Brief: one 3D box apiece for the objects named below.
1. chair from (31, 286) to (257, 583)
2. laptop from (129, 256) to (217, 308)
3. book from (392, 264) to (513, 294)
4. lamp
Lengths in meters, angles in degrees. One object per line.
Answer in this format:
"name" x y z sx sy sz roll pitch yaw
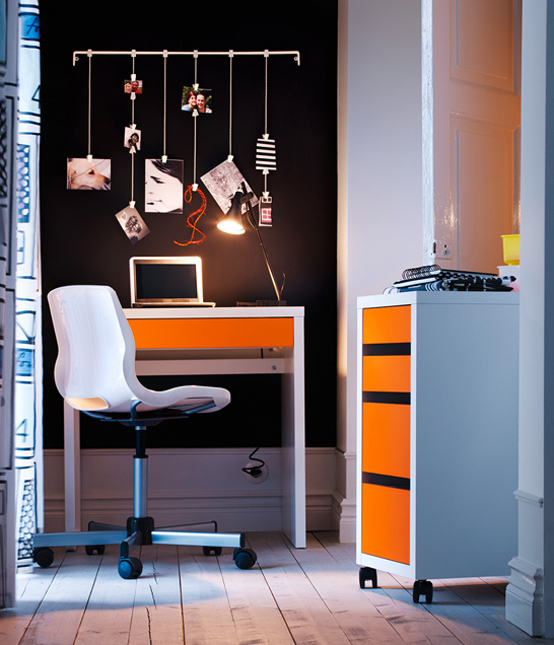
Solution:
"chair" -0.491 0.356 2.631 0.659 0.963 0.613 -2 -1 33
"laptop" -0.439 -0.166 2.990 0.293 0.250 0.220 -1 -5 -18
"book" 0.532 -0.134 2.315 0.388 0.087 0.233 -1 -3 12
"lamp" -0.120 -0.305 3.330 0.267 0.630 0.139 4 39 9
